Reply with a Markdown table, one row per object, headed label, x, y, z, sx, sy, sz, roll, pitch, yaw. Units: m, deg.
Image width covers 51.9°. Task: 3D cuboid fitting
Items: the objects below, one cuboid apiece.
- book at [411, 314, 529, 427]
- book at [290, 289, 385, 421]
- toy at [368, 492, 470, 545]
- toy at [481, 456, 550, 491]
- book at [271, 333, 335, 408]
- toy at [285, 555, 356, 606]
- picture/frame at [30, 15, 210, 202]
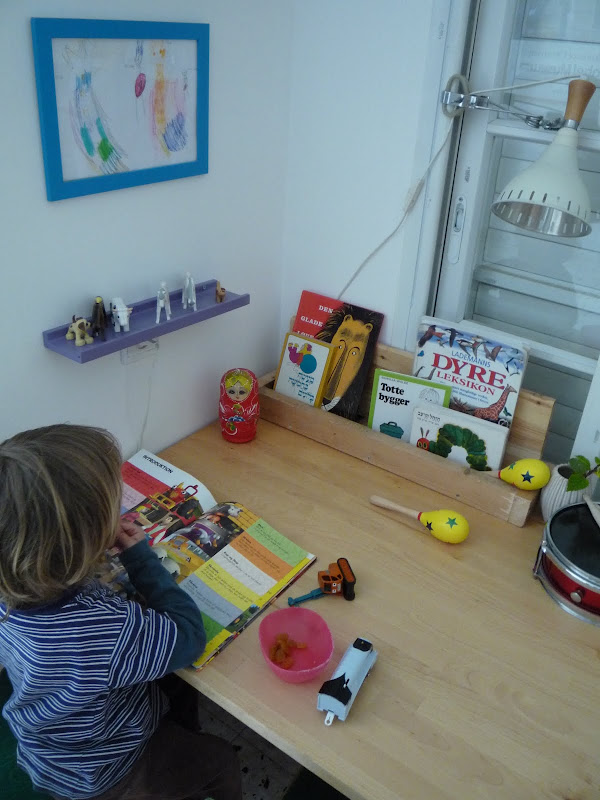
| label | x | y | z | sx | sy | sz | roll | pitch | yaw |
| --- | --- | --- | --- | --- | --- | --- | --- | --- | --- |
| book | 0.357 | -0.054 | 1.284 | 0.203 | 0.180 | 0.028 | 23 | 32 | 30 |
| book | 0.098 | -0.101 | 1.458 | 0.242 | 0.274 | 0.029 | 22 | 13 | 26 |
| toy | 0.228 | 0.216 | 1.226 | 0.206 | 0.060 | 0.063 | 17 | -7 | 39 |
| toy | 0.440 | 0.145 | 1.228 | 0.050 | 0.049 | 0.097 | 11 | -9 | -39 |
| book | 0.013 | -0.069 | 1.488 | 0.136 | 0.180 | 0.021 | 22 | 18 | 29 |
| toy | 0.038 | 0.299 | 1.012 | 0.096 | 0.041 | 0.061 | -20 | 47 | -18 |
| picture/frame | -0.293 | -0.470 | 0.974 | 0.018 | 0.244 | 0.349 | 22 | 38 | 27 |
